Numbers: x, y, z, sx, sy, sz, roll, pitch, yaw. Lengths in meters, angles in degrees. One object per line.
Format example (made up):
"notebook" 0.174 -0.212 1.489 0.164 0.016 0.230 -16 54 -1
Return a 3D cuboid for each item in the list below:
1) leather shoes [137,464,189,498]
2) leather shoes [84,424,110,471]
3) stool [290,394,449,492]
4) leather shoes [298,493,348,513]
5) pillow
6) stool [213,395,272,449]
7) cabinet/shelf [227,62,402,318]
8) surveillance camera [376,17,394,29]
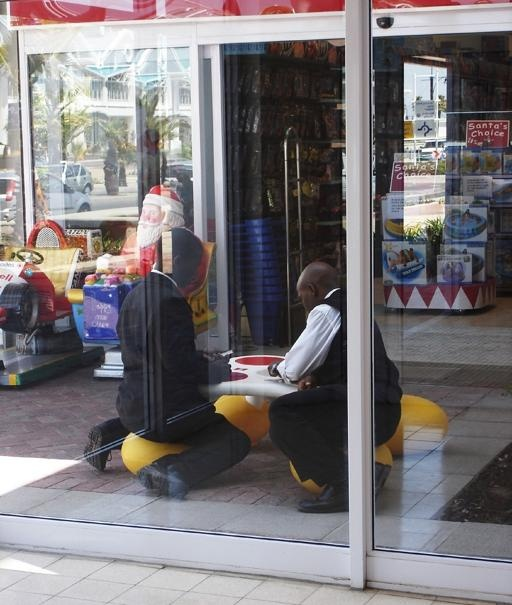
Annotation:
"leather shoes" -0.383 0.749 2.717 0.199 0.071 0.120 18 14 25
"leather shoes" -0.673 0.631 2.772 0.090 0.230 0.102 6 11 4
"stool" 0.443 0.439 2.402 0.444 0.155 0.416 -25 8 -3
"leather shoes" 0.263 0.776 2.505 0.204 0.070 0.065 1 5 11
"pillow" -0.821 -0.163 2.646 0.400 0.170 0.195 5 25 9
"stool" -0.029 0.462 2.571 0.217 0.174 0.165 -17 16 -42
"cabinet/shelf" 0.201 -0.376 2.303 0.677 1.083 0.239 -2 0 9
"surveillance camera" 0.440 -0.952 2.180 0.047 0.033 0.049 -6 10 -30
